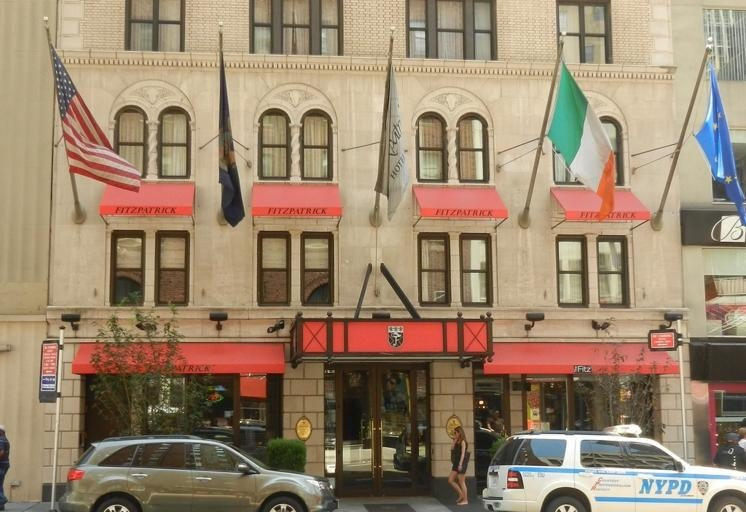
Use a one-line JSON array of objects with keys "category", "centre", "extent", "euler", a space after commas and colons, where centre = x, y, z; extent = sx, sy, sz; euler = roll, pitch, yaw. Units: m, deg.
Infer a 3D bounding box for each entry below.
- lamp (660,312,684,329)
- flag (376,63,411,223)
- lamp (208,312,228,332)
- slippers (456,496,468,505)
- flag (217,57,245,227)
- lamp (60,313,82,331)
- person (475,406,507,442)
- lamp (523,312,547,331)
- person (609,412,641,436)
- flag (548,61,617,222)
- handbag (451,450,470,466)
[{"category": "lamp", "centre": [10.613, 2.275, 53.824], "extent": [0.689, 0.684, 0.616], "euler": [-1, -3, 6]}, {"category": "flag", "centre": [0.673, -3.820, 51.365], "extent": [0.817, 4.854, 1.405], "euler": [1, -12, -14]}, {"category": "lamp", "centre": [-5.387, 2.244, 52.901], "extent": [0.737, 0.764, 0.578], "euler": [1, 2, -5]}, {"category": "slippers", "centre": [3.044, 8.341, 51.607], "extent": [0.373, 0.386, 0.178], "euler": [5, -14, -5]}, {"category": "flag", "centre": [-4.843, -4.085, 52.003], "extent": [0.859, 6.006, 2.353], "euler": [0, -11, -6]}, {"category": "lamp", "centre": [-10.399, 2.206, 52.585], "extent": [0.730, 0.776, 0.529], "euler": [0, -3, -3]}, {"category": "person", "centre": [4.185, 5.959, 53.710], "extent": [0.751, 1.290, 0.373], "euler": [0, -3, -10]}, {"category": "lamp", "centre": [5.767, 2.317, 53.809], "extent": [0.546, 0.698, 0.677], "euler": [1, 0, -8]}, {"category": "person", "centre": [8.081, 5.511, 48.878], "extent": [0.895, 0.464, 1.236], "euler": [0, -5, 7]}, {"category": "flag", "centre": [7.182, -4.049, 51.975], "extent": [2.144, 5.200, 0.827], "euler": [2, -12, -16]}, {"category": "handbag", "centre": [3.020, 6.846, 51.735], "extent": [0.473, 0.561, 0.539], "euler": [2, -4, -2]}]
